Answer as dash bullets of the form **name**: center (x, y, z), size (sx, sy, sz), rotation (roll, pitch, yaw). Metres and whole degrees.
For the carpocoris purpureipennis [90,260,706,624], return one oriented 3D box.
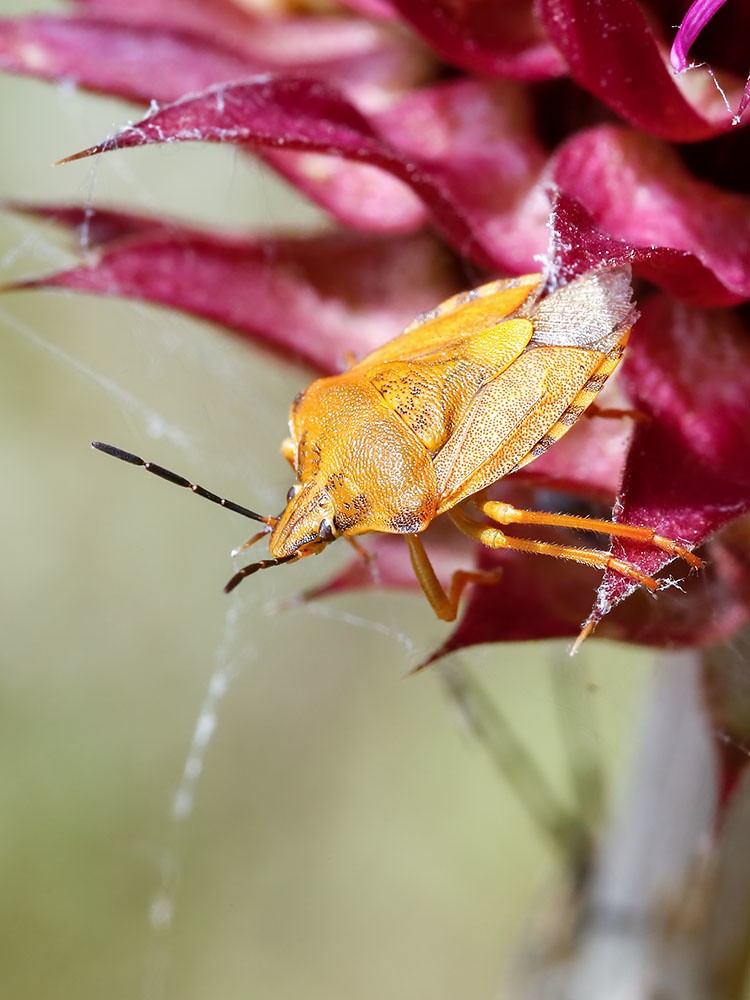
- **carpocoris purpureipennis**: center (0.022, -0.009, 0.550), size (0.165, 0.233, 0.067), rotation (58, 10, 25)
